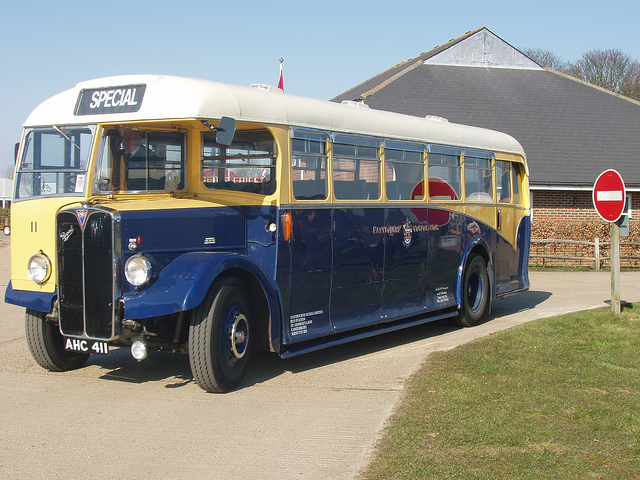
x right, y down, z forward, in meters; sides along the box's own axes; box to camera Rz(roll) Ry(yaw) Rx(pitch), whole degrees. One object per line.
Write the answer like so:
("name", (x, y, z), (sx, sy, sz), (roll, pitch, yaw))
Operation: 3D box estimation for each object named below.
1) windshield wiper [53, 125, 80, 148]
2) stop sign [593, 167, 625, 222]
("windshield wiper", (-3.309, -1.343, 9.035), (0.052, 0.371, 0.050), (-39, -7, -29))
("stop sign", (5.440, -0.818, 13.015), (0.519, 0.957, 0.253), (3, 6, 28))
